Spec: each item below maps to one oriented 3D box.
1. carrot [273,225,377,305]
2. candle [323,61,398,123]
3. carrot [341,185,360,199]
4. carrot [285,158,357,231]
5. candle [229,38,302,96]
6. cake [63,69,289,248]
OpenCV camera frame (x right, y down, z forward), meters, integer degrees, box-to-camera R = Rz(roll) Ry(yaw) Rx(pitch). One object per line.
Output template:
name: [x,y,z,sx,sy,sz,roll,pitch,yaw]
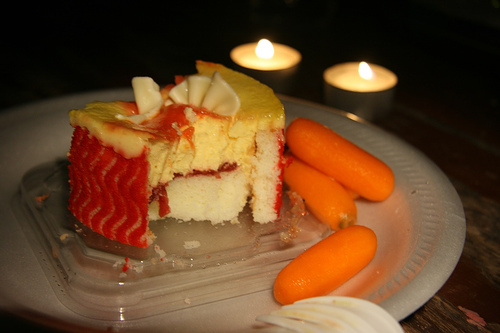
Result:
carrot: [0.251,0.328,1.564,0.383,0.148,0.169,-30,14,-5]
candle: [0.520,-0.404,2.331,0.353,0.206,0.339,-9,36,-11]
carrot: [0.402,0.105,1.881,0.013,0.050,0.047,-56,38,-3]
carrot: [0.316,0.107,1.889,0.161,0.128,0.360,-20,38,-6]
candle: [0.078,-0.535,2.413,0.354,0.324,0.340,1,31,0]
cake: [-0.307,-0.072,1.898,0.828,0.515,0.551,-7,34,-22]
